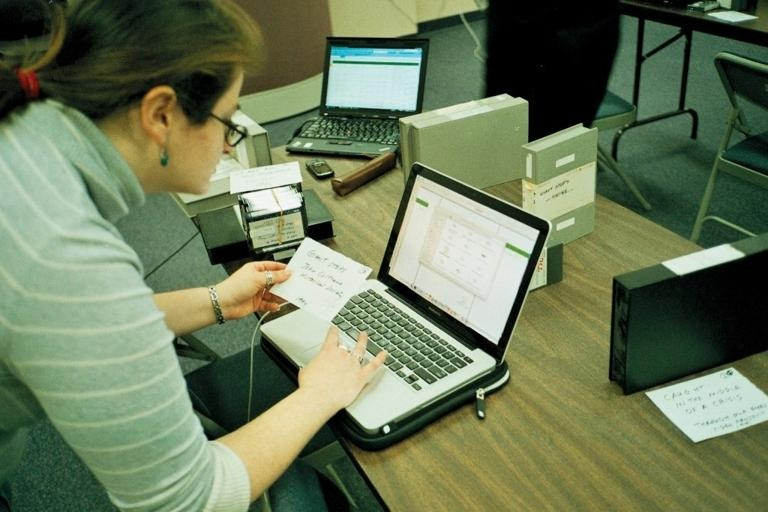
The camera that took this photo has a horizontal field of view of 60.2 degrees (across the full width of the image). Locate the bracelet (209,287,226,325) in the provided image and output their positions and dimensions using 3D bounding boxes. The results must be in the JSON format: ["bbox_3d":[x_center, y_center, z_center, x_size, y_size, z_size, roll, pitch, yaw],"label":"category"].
[{"bbox_3d":[-0.450,0.134,1.771,0.021,0.078,0.084,-16,14,-19],"label":"bracelet"}]

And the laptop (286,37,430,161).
[{"bbox_3d":[-0.069,-0.634,2.639,0.630,0.441,0.533,10,39,18],"label":"laptop"}]

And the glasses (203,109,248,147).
[{"bbox_3d":[-0.342,-0.280,1.447,0.061,0.018,0.059,29,8,7],"label":"glasses"}]
